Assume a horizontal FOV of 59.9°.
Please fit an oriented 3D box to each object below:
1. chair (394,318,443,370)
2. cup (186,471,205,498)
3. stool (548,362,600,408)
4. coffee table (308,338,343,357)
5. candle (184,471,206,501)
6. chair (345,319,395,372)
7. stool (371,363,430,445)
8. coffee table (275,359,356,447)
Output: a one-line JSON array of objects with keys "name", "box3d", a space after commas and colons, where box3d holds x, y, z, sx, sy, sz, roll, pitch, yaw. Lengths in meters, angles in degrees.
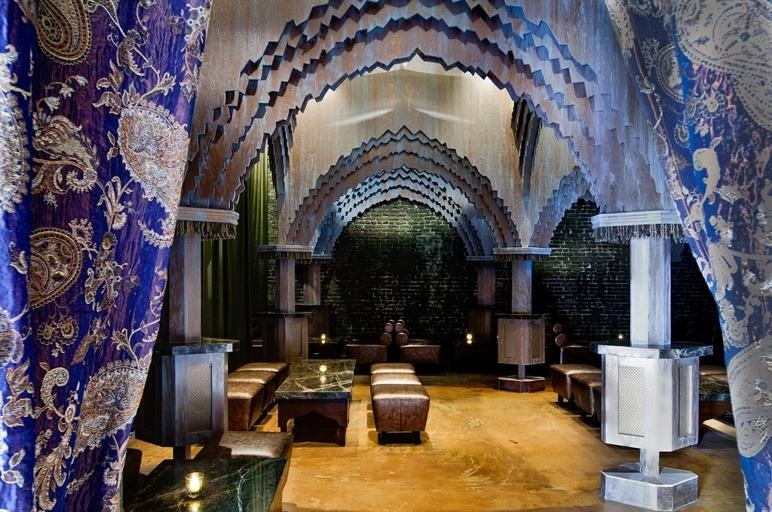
[{"name": "chair", "box3d": [0.585, 1.723, 12.568, 0.866, 0.848, 0.949, 0, 0, 1]}, {"name": "cup", "box3d": [-1.195, 1.433, 4.202, 0.116, 0.135, 0.126, 1, -1, 0]}, {"name": "stool", "box3d": [2.572, 1.817, 9.190, 0.557, 0.487, 0.598, -1, 3, -4]}, {"name": "coffee table", "box3d": [-1.071, 1.662, 11.916, 0.588, 0.321, 0.698, 0, 0, -9]}, {"name": "candle", "box3d": [-1.214, 1.445, 4.215, 0.120, 0.151, 0.128, 2, 1, 24]}, {"name": "chair", "box3d": [-0.286, 1.663, 12.522, 0.822, 0.930, 0.858, 1, -5, 3]}, {"name": "stool", "box3d": [0.140, 1.779, 7.972, 0.603, 0.562, 1.580, 0, 0, -1]}, {"name": "coffee table", "box3d": [-0.800, 1.742, 7.891, 0.801, 0.619, 1.804, 0, 0, -3]}]
